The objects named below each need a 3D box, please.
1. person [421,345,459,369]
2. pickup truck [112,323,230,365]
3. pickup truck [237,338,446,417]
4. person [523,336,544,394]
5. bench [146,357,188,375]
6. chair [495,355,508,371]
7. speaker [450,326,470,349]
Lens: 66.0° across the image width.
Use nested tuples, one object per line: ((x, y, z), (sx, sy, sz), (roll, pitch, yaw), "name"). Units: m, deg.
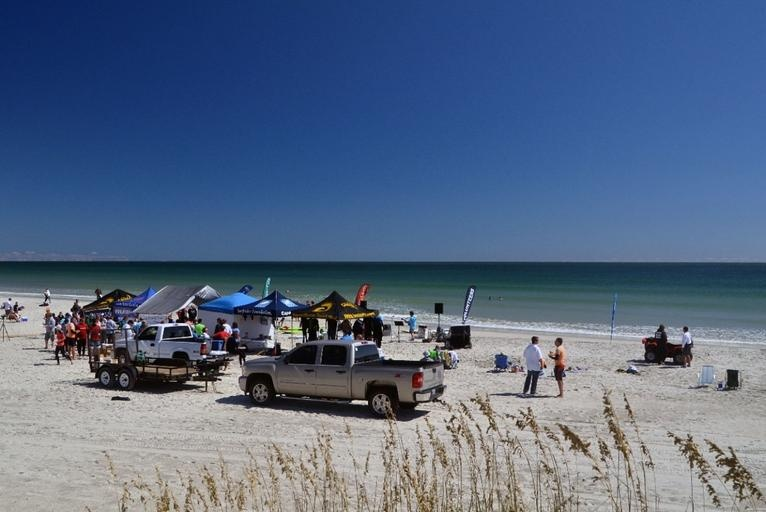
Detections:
((2.414, 4.137, 23.929), (1.365, 0.815, 1.822), (5, -1, 30), "person")
((-7.634, 3.168, 20.967), (3.280, 1.152, 1.590), (2, -6, 16), "pickup truck")
((-1.105, 3.582, 17.720), (5.520, 1.667, 2.307), (1, -5, 17), "pickup truck")
((4.996, 3.605, 19.311), (0.590, 1.815, 0.781), (5, -2, -36), "person")
((-7.134, 3.668, 19.430), (1.298, 0.487, 0.697), (1, -5, 24), "bench")
((4.790, 4.274, 23.517), (0.540, 0.682, 0.656), (-2, -9, 22), "chair")
((3.917, 4.088, 29.456), (1.085, 1.031, 1.081), (0, -3, 36), "speaker")
